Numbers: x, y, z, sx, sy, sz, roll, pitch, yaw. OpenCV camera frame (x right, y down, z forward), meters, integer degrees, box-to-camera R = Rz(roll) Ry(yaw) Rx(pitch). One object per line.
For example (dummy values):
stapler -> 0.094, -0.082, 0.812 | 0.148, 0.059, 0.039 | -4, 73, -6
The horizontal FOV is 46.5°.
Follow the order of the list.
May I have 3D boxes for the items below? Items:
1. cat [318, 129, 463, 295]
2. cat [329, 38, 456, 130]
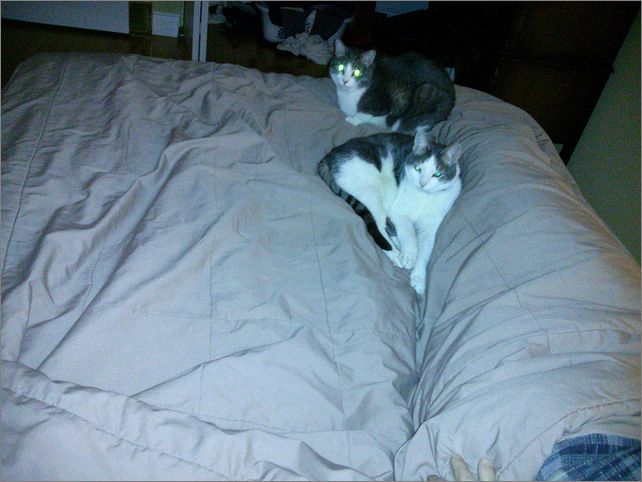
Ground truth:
cat -> 0.382, -0.238, 3.324 | 0.484, 0.418, 0.866 | 6, 35, -40
cat -> 0.404, -0.809, 3.919 | 0.617, 0.387, 0.401 | 6, 25, -1
